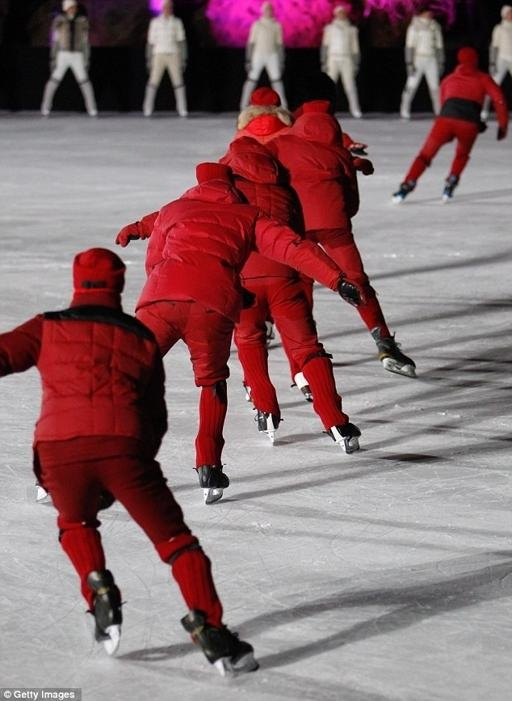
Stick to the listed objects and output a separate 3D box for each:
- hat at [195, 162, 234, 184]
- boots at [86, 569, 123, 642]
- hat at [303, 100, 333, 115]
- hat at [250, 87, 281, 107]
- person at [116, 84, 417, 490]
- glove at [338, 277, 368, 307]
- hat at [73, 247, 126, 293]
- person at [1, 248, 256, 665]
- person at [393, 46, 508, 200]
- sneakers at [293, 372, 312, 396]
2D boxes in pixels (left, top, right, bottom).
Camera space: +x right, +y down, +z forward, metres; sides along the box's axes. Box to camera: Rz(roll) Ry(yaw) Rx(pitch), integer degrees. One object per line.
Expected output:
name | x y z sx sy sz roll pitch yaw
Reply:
hat | -0.156 -0.664 3.163 0.131 0.076 0.121 9 19 28
boots | -0.372 0.622 2.019 0.086 0.186 0.065 -13 14 -2
hat | 0.309 -1.198 4.119 0.107 0.068 0.117 -1 12 -7
hat | 0.037 -1.243 4.142 0.190 0.084 0.159 2 10 1
person | 0.224 -0.325 4.047 1.843 1.709 0.465 -2 -30 -5
glove | 0.381 -0.224 3.170 0.047 0.114 0.083 -48 4 -40
hat | -0.386 -0.200 2.088 0.124 0.092 0.134 3 14 3
person | -0.304 0.284 2.032 0.391 1.031 0.627 -15 21 -43
person | 2.487 -2.678 10.264 1.379 1.976 0.712 14 0 9
sneakers | 0.269 0.185 4.487 0.054 0.127 0.099 -41 48 -13
